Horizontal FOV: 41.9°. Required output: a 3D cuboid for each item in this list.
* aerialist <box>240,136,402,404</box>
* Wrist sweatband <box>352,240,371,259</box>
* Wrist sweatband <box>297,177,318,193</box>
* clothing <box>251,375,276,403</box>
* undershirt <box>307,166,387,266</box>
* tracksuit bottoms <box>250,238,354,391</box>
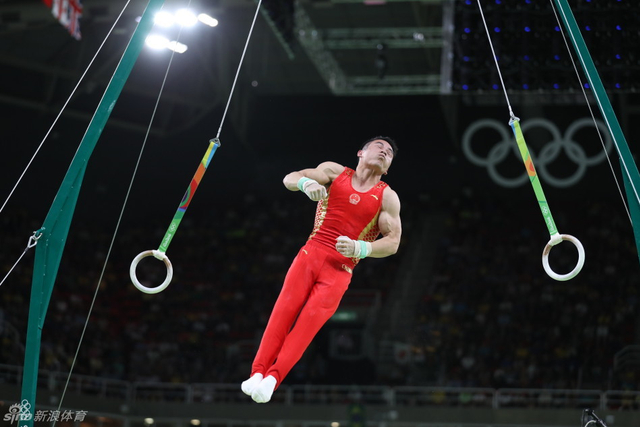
[{"bbox_3d":[-0.018,0.519,9.526,1.378,3.573,1.092,22,-22,10],"label":"aerialist"},{"bbox_3d":[0.471,0.411,9.390,0.148,0.177,0.204,-2,1,-5],"label":"Wrist sweatband"},{"bbox_3d":[-0.142,-0.297,9.424,0.125,0.151,0.190,-15,-45,25],"label":"Wrist sweatband"},{"bbox_3d":[-0.622,1.970,9.275,0.164,0.127,0.336,0,2,33],"label":"clothing"},{"bbox_3d":[0.314,0.014,9.568,0.638,0.955,0.475,32,-13,-5],"label":"undershirt"},{"bbox_3d":[-0.191,1.110,9.483,1.002,1.630,0.253,2,-14,13],"label":"tracksuit bottoms"}]
